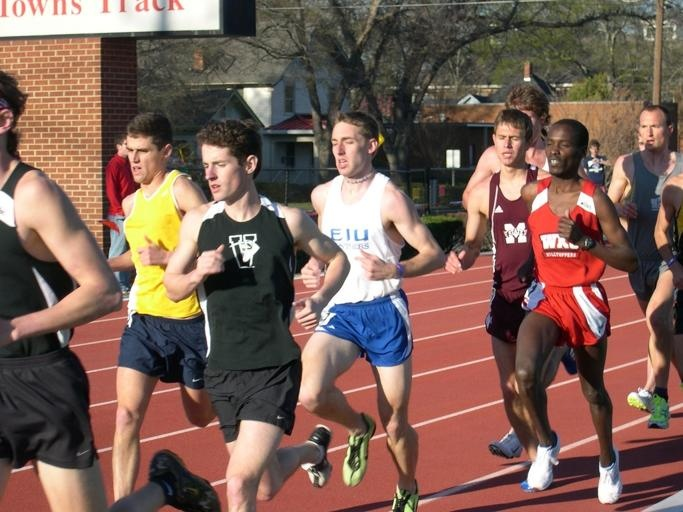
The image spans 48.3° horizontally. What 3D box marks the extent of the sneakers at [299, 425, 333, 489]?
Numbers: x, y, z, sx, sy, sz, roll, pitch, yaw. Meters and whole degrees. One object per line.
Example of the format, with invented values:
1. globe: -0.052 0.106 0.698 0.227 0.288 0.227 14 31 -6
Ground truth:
1. sneakers: -0.153 1.360 4.995 0.146 0.475 0.194 2 20 17

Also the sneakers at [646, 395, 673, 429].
1. sneakers: 2.673 1.330 6.469 0.153 0.269 0.122 3 6 24

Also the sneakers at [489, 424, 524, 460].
1. sneakers: 1.208 1.407 5.707 0.132 0.234 0.400 30 4 35

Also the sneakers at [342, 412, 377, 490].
1. sneakers: 0.141 1.329 5.072 0.161 0.563 0.213 6 -10 34

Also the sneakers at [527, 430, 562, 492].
1. sneakers: 1.340 1.398 5.046 0.153 0.487 0.188 16 -1 31

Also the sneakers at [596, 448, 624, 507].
1. sneakers: 1.775 1.493 5.072 0.131 0.402 0.154 4 -3 22
